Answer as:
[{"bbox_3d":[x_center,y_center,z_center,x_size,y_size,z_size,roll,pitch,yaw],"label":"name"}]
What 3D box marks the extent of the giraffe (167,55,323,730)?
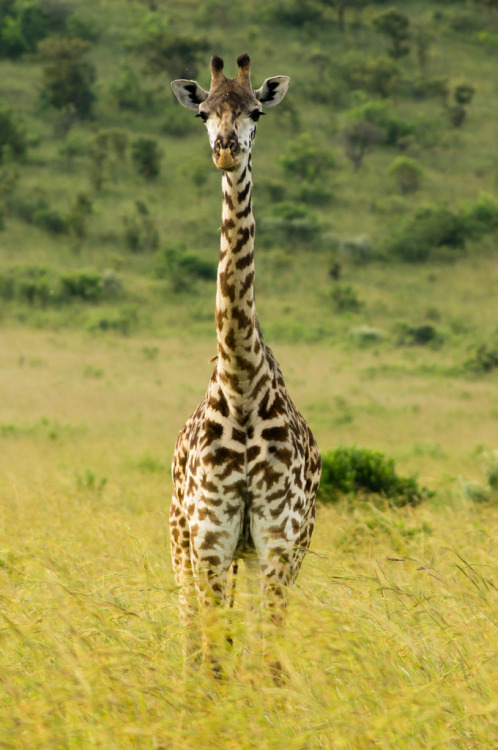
[{"bbox_3d":[-0.049,-0.147,14.043,1.553,5.892,1.740,7,10,23],"label":"giraffe"}]
